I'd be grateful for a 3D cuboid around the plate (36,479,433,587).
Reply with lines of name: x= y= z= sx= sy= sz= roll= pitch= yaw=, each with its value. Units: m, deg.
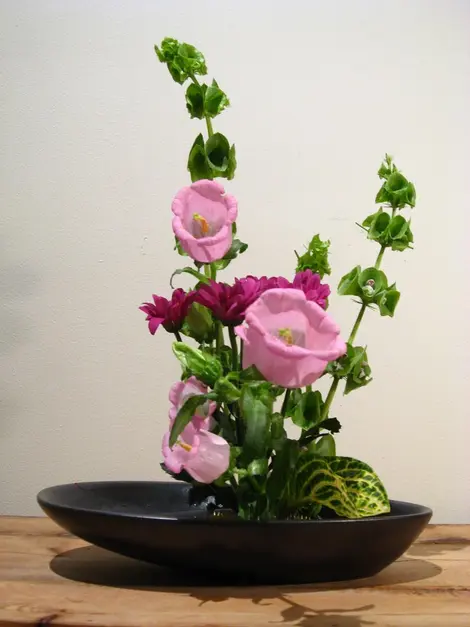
plate: x=0.003 y=0.171 z=0.489 sx=0.205 sy=0.029 sz=0.157 roll=1 pitch=-14 yaw=1
